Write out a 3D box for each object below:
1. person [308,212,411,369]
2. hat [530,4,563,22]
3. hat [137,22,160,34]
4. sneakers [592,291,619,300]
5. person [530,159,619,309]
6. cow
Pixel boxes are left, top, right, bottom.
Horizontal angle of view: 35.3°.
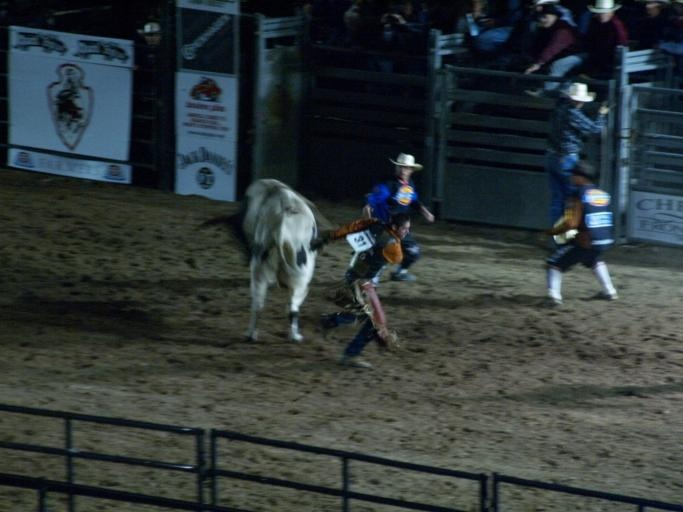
[{"bbox_3d":[0.200,0.350,11.269,0.895,1.626,0.598,10,9,37],"label":"person"},{"bbox_3d":[2.870,-3.389,14.850,0.396,0.319,0.391,3,6,-3],"label":"hat"},{"bbox_3d":[-2.838,-3.421,16.134,0.428,0.087,0.348,-2,6,-13],"label":"hat"},{"bbox_3d":[3.108,0.467,12.750,0.314,0.086,0.105,9,17,38],"label":"sneakers"},{"bbox_3d":[2.988,-0.279,13.044,0.855,1.650,1.392,6,7,12],"label":"person"},{"bbox_3d":[-0.704,0.056,11.672,0.593,1.749,1.033,2,8,-26],"label":"cow"}]
